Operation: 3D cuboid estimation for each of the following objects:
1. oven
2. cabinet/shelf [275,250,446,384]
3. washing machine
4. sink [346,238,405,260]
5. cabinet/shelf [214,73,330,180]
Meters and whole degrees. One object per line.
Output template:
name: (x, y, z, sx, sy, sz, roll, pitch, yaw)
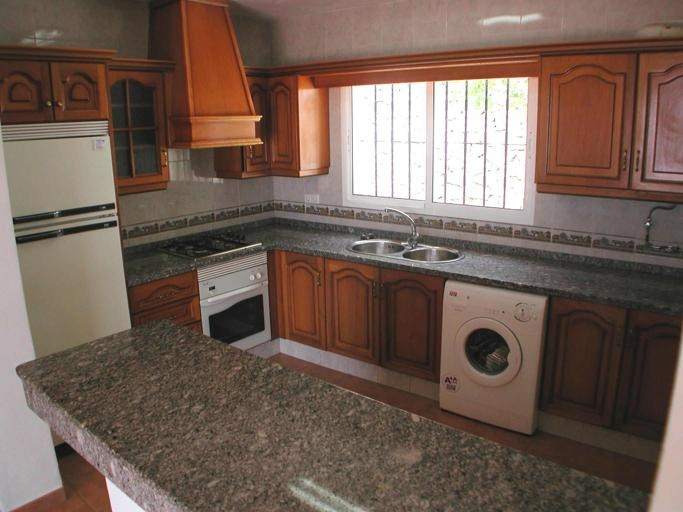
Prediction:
oven: (-1.018, 0.369, 4.518, 0.643, 0.897, 0.610, -15, 29, -26)
cabinet/shelf: (0.201, 0.460, 4.063, 0.990, 0.500, 0.296, 8, 14, 32)
washing machine: (1.124, 0.672, 3.766, 0.691, 1.000, 0.531, 9, 16, 32)
sink: (0.289, -0.082, 4.421, 0.248, 0.104, 0.257, 5, 16, 18)
cabinet/shelf: (-0.498, -1.279, 5.046, 0.533, 0.966, 1.050, -7, 14, -36)
